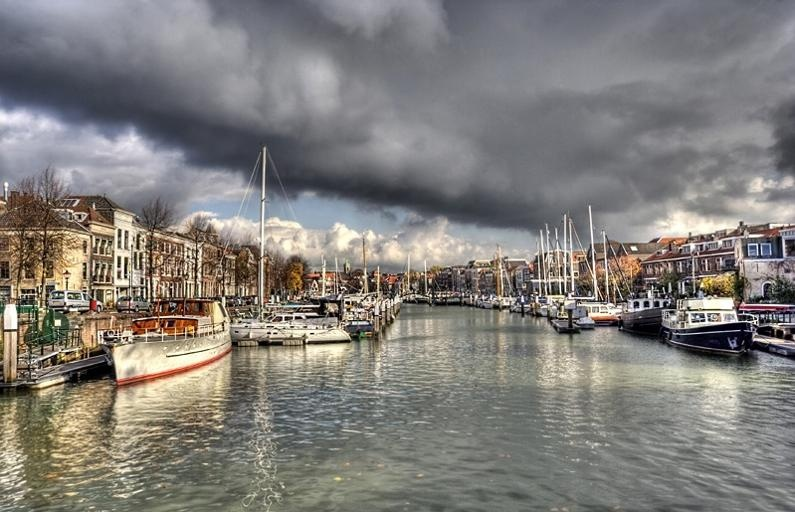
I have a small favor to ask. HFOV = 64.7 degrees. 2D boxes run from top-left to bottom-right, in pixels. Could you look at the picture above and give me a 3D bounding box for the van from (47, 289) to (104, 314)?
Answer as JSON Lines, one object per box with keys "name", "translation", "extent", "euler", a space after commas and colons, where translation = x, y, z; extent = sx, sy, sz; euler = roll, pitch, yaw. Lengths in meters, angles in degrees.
{"name": "van", "translation": [-35.592, 5.133, 69.020], "extent": [2.669, 2.967, 5.828], "euler": [2, 9, 12]}
